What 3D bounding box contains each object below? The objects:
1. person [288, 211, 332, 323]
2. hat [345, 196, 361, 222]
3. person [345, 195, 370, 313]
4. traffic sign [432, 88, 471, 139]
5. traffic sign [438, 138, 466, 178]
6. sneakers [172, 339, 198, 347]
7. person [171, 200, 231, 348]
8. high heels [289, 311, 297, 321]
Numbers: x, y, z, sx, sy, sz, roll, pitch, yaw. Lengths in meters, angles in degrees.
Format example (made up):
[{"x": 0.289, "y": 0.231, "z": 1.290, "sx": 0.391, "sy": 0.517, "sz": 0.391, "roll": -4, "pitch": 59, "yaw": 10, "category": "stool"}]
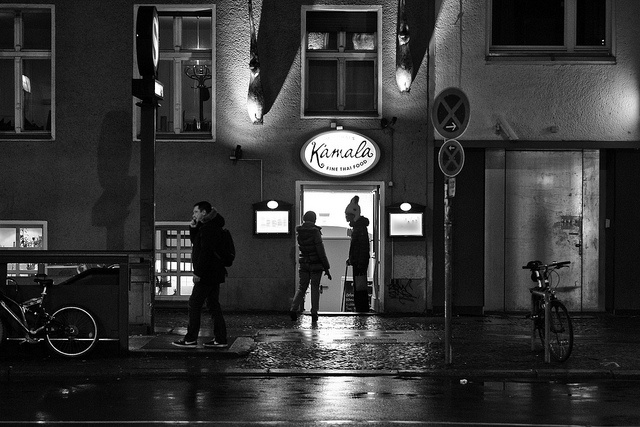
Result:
[{"x": -0.225, "y": 1.182, "z": 25.287, "sx": 0.876, "sy": 2.463, "sz": 0.530, "roll": -1, "pitch": -1, "yaw": 37, "category": "person"}, {"x": 0.757, "y": -0.094, "z": 26.478, "sx": 0.435, "sy": 0.522, "sz": 0.459, "roll": 15, "pitch": 3, "yaw": -17, "category": "hat"}, {"x": 0.876, "y": 0.956, "z": 26.293, "sx": 0.541, "sy": 2.697, "sz": 0.592, "roll": 0, "pitch": -1, "yaw": 3, "category": "person"}, {"x": 2.474, "y": -1.894, "z": 21.434, "sx": 0.678, "sy": 0.979, "sz": 0.249, "roll": 0, "pitch": -1, "yaw": 0, "category": "traffic sign"}, {"x": 2.494, "y": -1.043, "z": 21.449, "sx": 0.427, "sy": 0.739, "sz": 0.363, "roll": 0, "pitch": -1, "yaw": 9, "category": "traffic sign"}, {"x": -2.676, "y": 2.576, "z": 22.412, "sx": 0.476, "sy": 0.174, "sz": 0.162, "roll": 5, "pitch": -11, "yaw": -2, "category": "sneakers"}, {"x": -2.259, "y": 1.204, "z": 22.455, "sx": 0.915, "sy": 2.876, "sz": 0.629, "roll": 0, "pitch": -1, "yaw": 18, "category": "person"}, {"x": -0.578, "y": 2.298, "z": 25.332, "sx": 0.203, "sy": 0.321, "sz": 0.187, "roll": 1, "pitch": -5, "yaw": 2, "category": "high heels"}]
